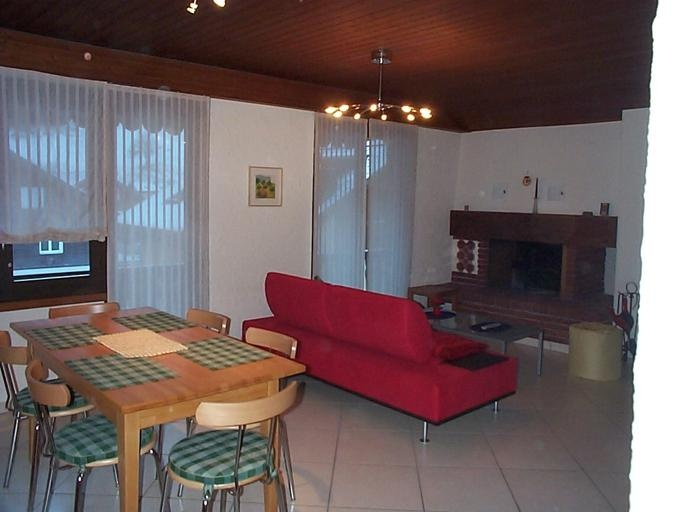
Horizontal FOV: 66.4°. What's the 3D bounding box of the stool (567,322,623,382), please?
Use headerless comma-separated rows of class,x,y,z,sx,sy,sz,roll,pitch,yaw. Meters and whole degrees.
stool,2.676,0.972,5.641,0.542,0.615,0.549,5,6,40

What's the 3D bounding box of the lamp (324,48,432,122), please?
lamp,0.424,-1.968,5.953,1.188,0.745,1.206,7,10,19

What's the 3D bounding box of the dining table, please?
dining table,-1.137,0.821,3.139,0.978,0.586,1.551,-6,9,-43

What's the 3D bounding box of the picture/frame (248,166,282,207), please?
picture/frame,-0.918,-0.839,6.167,0.466,0.488,0.033,-3,5,-38
